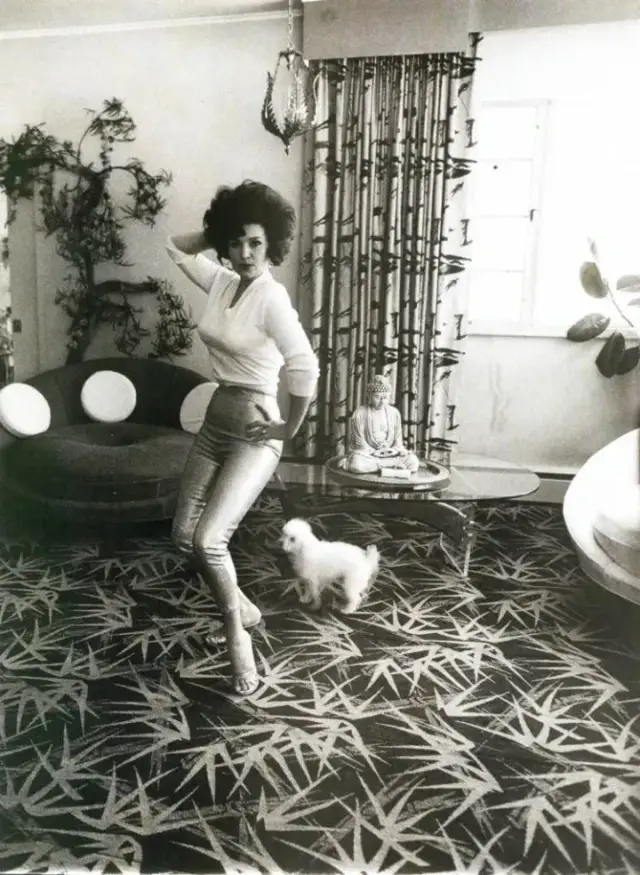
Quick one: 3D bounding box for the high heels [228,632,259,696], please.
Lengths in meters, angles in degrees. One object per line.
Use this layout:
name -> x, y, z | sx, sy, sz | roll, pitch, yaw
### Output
high heels -> -0.149, 0.447, 1.543 | 0.050, 0.123, 0.034 | -8, -4, 1

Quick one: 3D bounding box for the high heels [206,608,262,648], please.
high heels -> -0.191, 0.412, 1.743 | 0.055, 0.036, 0.136 | 3, 12, 31

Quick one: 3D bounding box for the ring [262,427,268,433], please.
ring -> -0.106, -0.015, 1.531 | 0.007, 0.011, 0.011 | -1, -11, -2

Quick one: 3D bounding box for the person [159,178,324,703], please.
person -> -0.165, -0.008, 1.593 | 0.271, 0.979, 0.341 | -2, 13, -14

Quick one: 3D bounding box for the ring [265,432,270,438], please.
ring -> -0.101, -0.003, 1.533 | 0.007, 0.015, 0.010 | -3, 13, -20

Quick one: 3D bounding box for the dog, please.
dog -> 0.011, 0.321, 1.947 | 0.275, 0.203, 0.153 | 9, 5, -11
